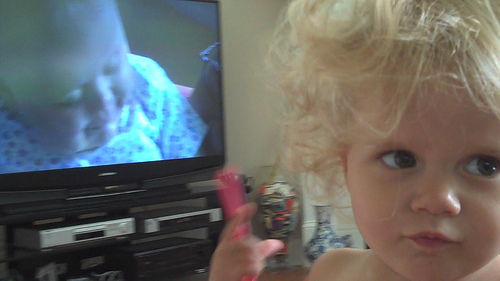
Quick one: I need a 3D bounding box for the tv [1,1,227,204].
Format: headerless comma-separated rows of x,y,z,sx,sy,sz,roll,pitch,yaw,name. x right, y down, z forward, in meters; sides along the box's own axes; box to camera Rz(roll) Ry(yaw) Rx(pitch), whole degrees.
-0.765,-0.201,2.103,1.502,0.899,0.151,0,-4,-27,tv

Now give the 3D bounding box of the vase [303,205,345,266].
0.302,0.385,1.620,0.165,0.219,0.296,-2,5,6,vase

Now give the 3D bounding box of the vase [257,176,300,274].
0.140,0.368,1.769,0.199,0.379,0.315,-3,5,-1,vase
